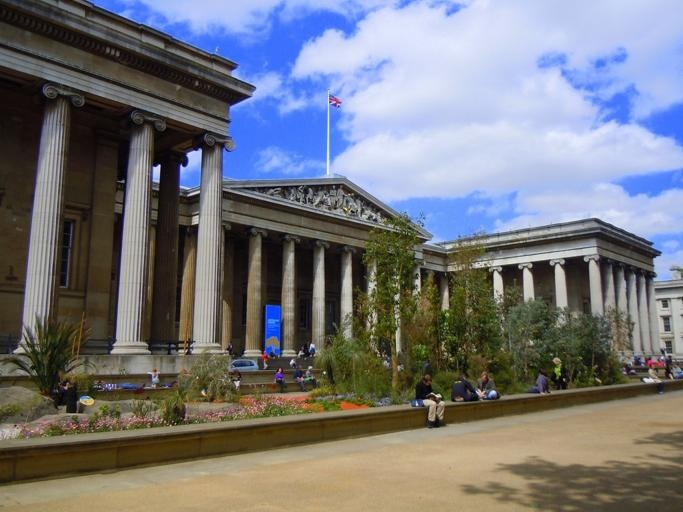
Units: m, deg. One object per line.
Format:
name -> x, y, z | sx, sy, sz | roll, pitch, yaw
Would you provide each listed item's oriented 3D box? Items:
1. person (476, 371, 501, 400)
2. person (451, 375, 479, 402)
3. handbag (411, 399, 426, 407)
person -> 5.070, 4.477, 19.039 | 0.653, 0.917, 1.862 | -4, -12, 15
person -> 3.891, 4.326, 17.900 | 0.767, 0.859, 0.650 | 5, -11, -31
handbag -> 2.275, 4.340, 16.216 | 0.243, 0.119, 0.258 | -1, -10, 29
